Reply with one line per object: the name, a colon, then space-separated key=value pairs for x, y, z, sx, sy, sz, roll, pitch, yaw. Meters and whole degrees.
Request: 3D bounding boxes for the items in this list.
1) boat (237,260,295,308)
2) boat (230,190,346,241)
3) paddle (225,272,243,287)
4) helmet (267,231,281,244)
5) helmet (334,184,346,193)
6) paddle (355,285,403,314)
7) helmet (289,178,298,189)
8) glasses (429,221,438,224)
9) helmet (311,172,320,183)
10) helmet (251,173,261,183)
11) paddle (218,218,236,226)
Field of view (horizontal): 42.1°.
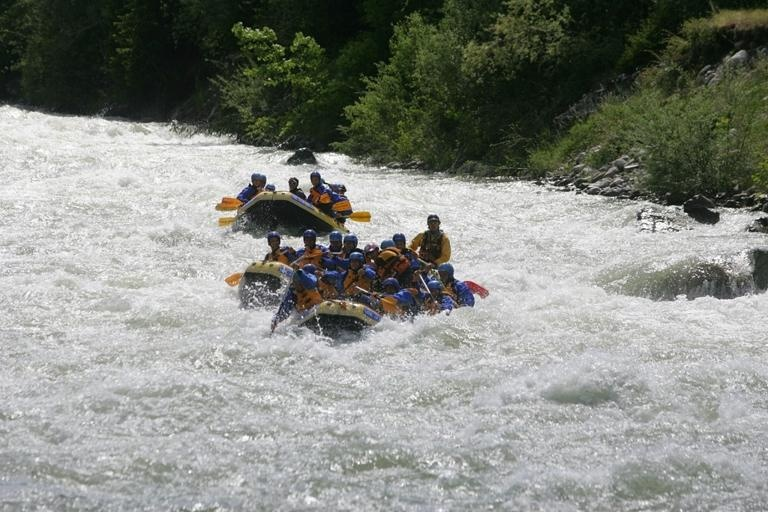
boat: x=-2.624 y=0.724 z=21.233 sx=1.320 sy=0.488 sz=2.099 roll=3 pitch=-31 yaw=-3
boat: x=-2.228 y=-1.159 z=26.228 sx=1.910 sy=0.720 sz=3.195 roll=12 pitch=-4 yaw=20
paddle: x=-3.160 y=0.483 z=21.068 sx=0.478 sy=0.217 sz=0.114 roll=-22 pitch=9 yaw=-12
helmet: x=-2.368 y=-0.420 z=21.857 sx=0.272 sy=0.295 sz=0.326 roll=-8 pitch=-24 yaw=-15
helmet: x=-1.165 y=-1.786 z=26.406 sx=0.243 sy=0.109 sz=0.313 roll=15 pitch=5 yaw=-2
paddle: x=-0.114 y=0.865 z=19.976 sx=1.247 sy=0.345 sz=0.332 roll=23 pitch=3 yaw=18
helmet: x=-2.324 y=-1.892 z=25.772 sx=0.278 sy=0.324 sz=0.324 roll=9 pitch=-1 yaw=-3
glasses: x=1.155 y=-0.778 z=22.674 sx=0.150 sy=0.064 sz=0.037 roll=6 pitch=9 yaw=-31
helmet: x=-1.786 y=-2.022 z=25.842 sx=0.215 sy=0.271 sz=0.226 roll=-3 pitch=1 yaw=3
helmet: x=-3.344 y=-2.035 z=26.240 sx=0.215 sy=0.233 sz=0.268 roll=1 pitch=-13 yaw=-11
paddle: x=-3.949 y=-0.856 z=24.844 sx=0.215 sy=0.252 sz=0.474 roll=16 pitch=9 yaw=42
